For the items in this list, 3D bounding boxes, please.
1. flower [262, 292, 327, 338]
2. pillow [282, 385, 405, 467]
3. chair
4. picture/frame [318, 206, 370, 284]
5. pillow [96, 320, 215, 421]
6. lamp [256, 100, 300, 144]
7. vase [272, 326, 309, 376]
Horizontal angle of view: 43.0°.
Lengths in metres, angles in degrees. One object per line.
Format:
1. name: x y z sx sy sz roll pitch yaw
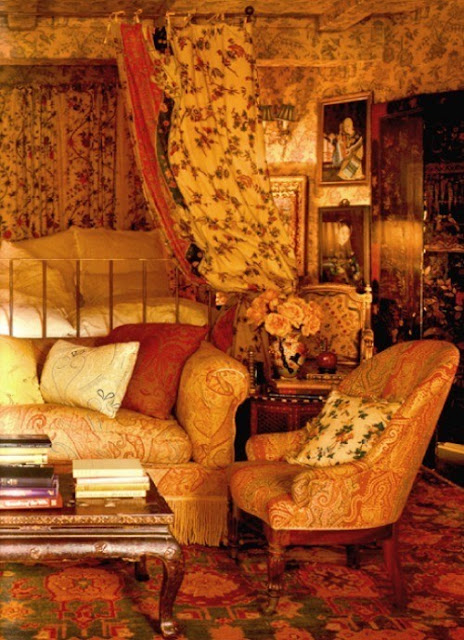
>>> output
1. flower: 0.279 -0.025 2.625 0.223 0.123 0.209 -5 22 3
2. pillow: 0.346 0.332 1.799 0.072 0.257 0.272 45 -20 -23
3. chair: 0.538 0.047 3.238 0.521 0.579 0.469 -1 -1 14
4. picture/frame: 0.752 -0.494 4.002 0.105 0.573 0.401 5 -6 -42
5. pillow: -0.276 0.192 2.495 0.452 0.388 0.139 10 -20 35
6. lamp: 0.330 -1.393 4.005 0.260 0.274 0.244 1 -5 5
7. vase: 0.258 0.150 2.650 0.214 0.217 0.195 0 -1 -2
